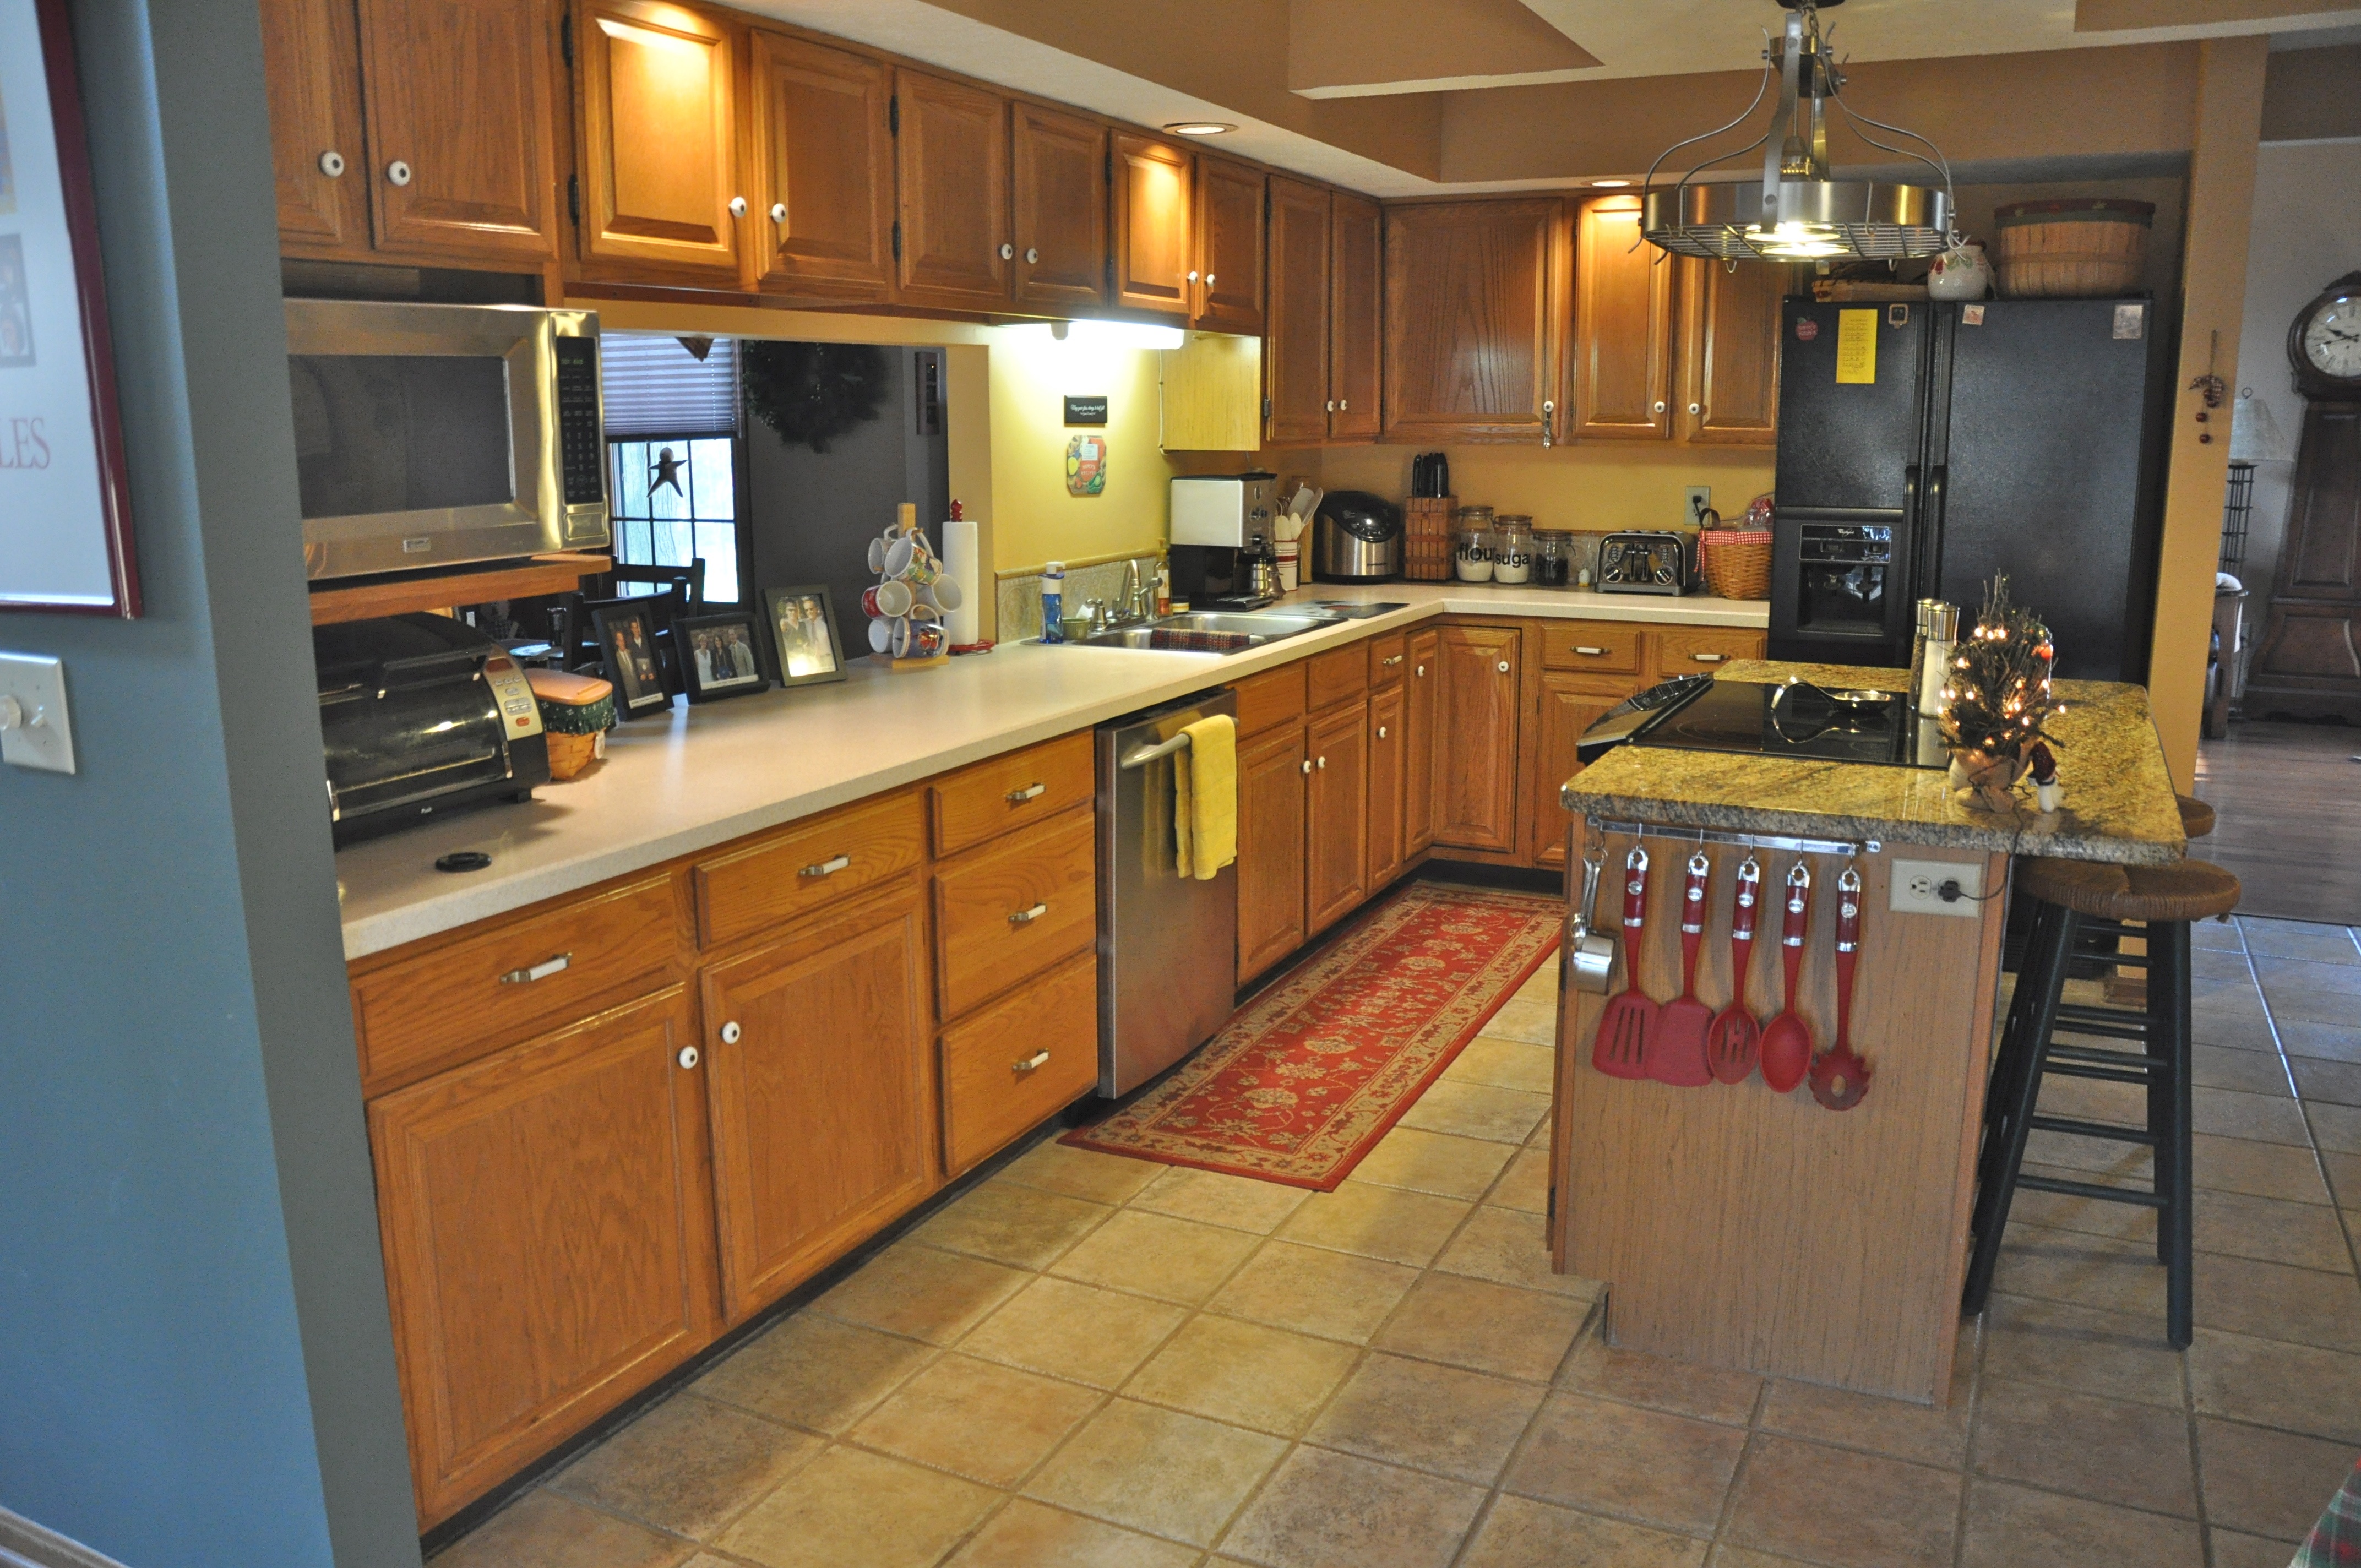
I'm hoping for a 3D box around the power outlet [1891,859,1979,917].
[{"bbox_3d":[1.488,0.204,3.079,0.164,0.111,0.019,4,17,21],"label":"power outlet"}]

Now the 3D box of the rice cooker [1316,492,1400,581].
[{"bbox_3d":[0.726,-1.015,6.408,0.359,0.377,0.377,5,10,35],"label":"rice cooker"}]

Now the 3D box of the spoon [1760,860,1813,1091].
[{"bbox_3d":[1.239,0.397,3.155,0.092,0.483,0.130,9,19,35],"label":"spoon"}]

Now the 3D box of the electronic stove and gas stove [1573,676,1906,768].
[{"bbox_3d":[1.407,-0.160,3.825,0.416,0.105,0.451,3,14,18],"label":"electronic stove and gas stove"}]

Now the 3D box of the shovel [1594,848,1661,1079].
[{"bbox_3d":[0.932,0.375,3.234,0.139,0.480,0.038,3,2,34],"label":"shovel"}]

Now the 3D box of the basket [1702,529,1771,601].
[{"bbox_3d":[2.133,-0.860,5.991,0.262,0.208,0.264,3,10,28],"label":"basket"}]

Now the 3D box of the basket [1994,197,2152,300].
[{"bbox_3d":[2.939,-1.791,5.175,0.391,0.232,0.398,10,18,39],"label":"basket"}]

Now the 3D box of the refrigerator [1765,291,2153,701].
[{"bbox_3d":[2.621,-1.031,5.315,1.112,1.260,0.383,1,16,10],"label":"refrigerator"}]

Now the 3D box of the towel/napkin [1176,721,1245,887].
[{"bbox_3d":[0.070,0.050,4.412,0.076,0.493,0.453,3,9,22],"label":"towel/napkin"}]

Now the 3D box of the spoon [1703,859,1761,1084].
[{"bbox_3d":[1.134,0.379,3.185,0.100,0.459,0.100,3,16,16],"label":"spoon"}]

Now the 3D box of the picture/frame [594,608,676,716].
[{"bbox_3d":[-1.299,-0.295,3.685,0.028,0.267,0.236,-10,15,22],"label":"picture/frame"}]

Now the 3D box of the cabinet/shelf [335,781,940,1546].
[{"bbox_3d":[-1.053,0.723,2.929,0.465,0.806,1.309,2,13,22],"label":"cabinet/shelf"}]

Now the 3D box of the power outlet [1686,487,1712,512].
[{"bbox_3d":[2.090,-1.154,6.295,0.066,0.100,0.079,-11,18,-30],"label":"power outlet"}]

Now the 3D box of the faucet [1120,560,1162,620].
[{"bbox_3d":[-0.135,-0.722,5.620,0.077,0.211,0.274,4,16,20],"label":"faucet"}]

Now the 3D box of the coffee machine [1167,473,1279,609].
[{"bbox_3d":[0.180,-0.906,6.008,0.458,0.528,0.582,0,9,8],"label":"coffee machine"}]

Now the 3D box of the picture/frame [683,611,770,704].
[{"bbox_3d":[-1.163,-0.325,3.952,0.024,0.208,0.230,-1,8,37],"label":"picture/frame"}]

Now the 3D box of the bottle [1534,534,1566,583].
[{"bbox_3d":[1.537,-0.948,6.481,0.150,0.206,0.159,-2,15,0],"label":"bottle"}]

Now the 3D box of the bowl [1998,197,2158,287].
[{"bbox_3d":[2.943,-1.796,5.178,0.369,0.219,0.376,-1,13,0],"label":"bowl"}]

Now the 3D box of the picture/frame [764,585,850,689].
[{"bbox_3d":[-1.005,-0.393,4.148,0.026,0.329,0.306,-7,5,33],"label":"picture/frame"}]

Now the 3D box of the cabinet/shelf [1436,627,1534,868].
[{"bbox_3d":[1.147,-0.165,6.031,0.317,0.901,0.157,1,16,12],"label":"cabinet/shelf"}]

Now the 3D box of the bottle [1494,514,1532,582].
[{"bbox_3d":[1.382,-0.985,6.500,0.163,0.257,0.166,-2,15,0],"label":"bottle"}]

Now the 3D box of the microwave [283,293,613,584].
[{"bbox_3d":[-1.349,-0.631,2.833,0.354,0.415,0.646,4,9,30],"label":"microwave"}]

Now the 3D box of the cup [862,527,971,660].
[{"bbox_3d":[-0.766,-0.565,4.477,0.299,0.393,0.218,-6,16,-16],"label":"cup"}]
